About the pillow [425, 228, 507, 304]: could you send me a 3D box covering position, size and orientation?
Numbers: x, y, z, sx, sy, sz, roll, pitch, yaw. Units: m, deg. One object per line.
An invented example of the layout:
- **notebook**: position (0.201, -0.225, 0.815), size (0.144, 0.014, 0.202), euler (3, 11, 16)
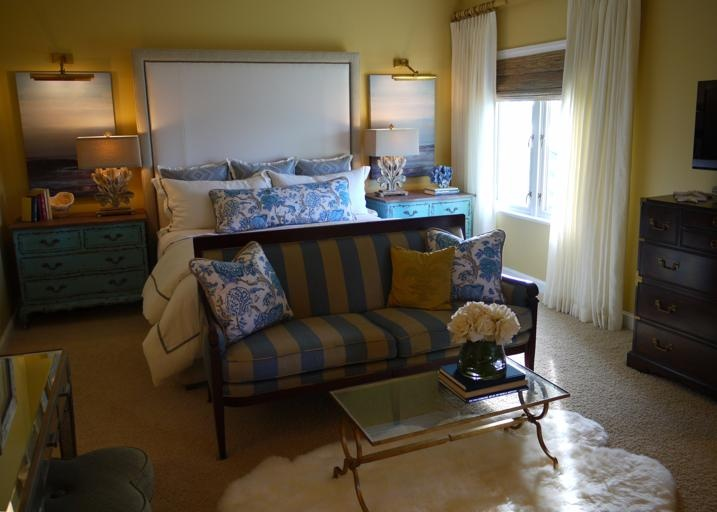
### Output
- **pillow**: position (0.755, 0.085, 3.830), size (0.503, 0.514, 0.191), euler (0, -10, 4)

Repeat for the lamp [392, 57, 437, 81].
- **lamp**: position (0.602, -2.167, 6.229), size (0.654, 0.289, 0.199), euler (-4, 16, -11)

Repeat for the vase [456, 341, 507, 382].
- **vase**: position (0.690, 0.564, 3.033), size (0.223, 0.224, 0.216), euler (1, 4, -5)

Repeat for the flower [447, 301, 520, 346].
- **flower**: position (0.678, 0.364, 2.878), size (0.269, 0.170, 0.271), euler (-4, 10, -22)

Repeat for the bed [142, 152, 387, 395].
- **bed**: position (-1.222, 0.099, 4.422), size (1.943, 0.915, 1.831), euler (-6, 19, -18)

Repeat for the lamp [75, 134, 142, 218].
- **lamp**: position (-2.465, -0.795, 5.250), size (0.668, 1.095, 0.355), euler (-8, 16, -29)

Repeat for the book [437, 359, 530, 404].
- **book**: position (0.698, 0.699, 2.947), size (0.268, 0.066, 0.274), euler (-6, 12, -20)

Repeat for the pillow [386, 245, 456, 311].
- **pillow**: position (0.449, 0.170, 3.792), size (0.394, 0.396, 0.142), euler (4, -14, 18)

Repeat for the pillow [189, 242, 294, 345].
- **pillow**: position (-0.756, 0.255, 3.410), size (0.282, 0.474, 0.518), euler (7, 26, 43)

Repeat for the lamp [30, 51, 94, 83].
- **lamp**: position (-2.844, -1.805, 5.154), size (0.548, 0.279, 0.069), euler (-7, 16, -13)
